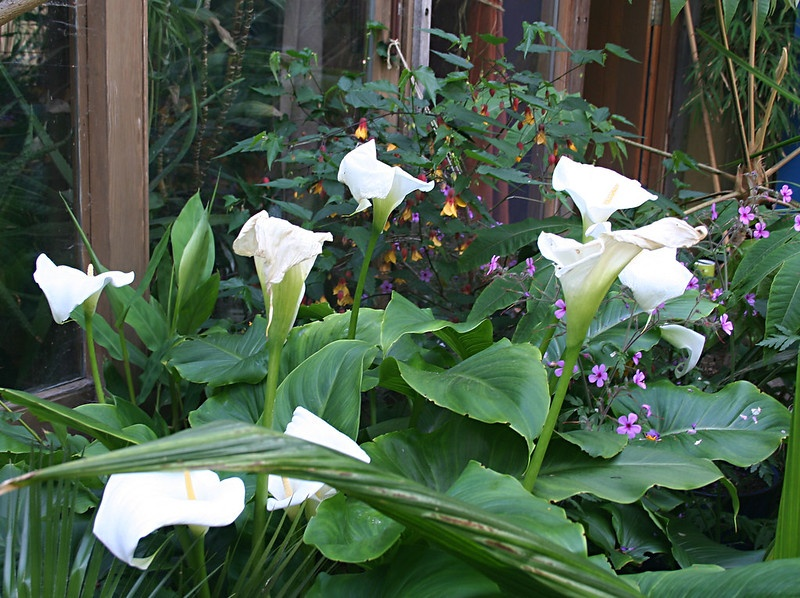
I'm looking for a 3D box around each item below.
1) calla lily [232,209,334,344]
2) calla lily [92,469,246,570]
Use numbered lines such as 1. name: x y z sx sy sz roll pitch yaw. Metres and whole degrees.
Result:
1. calla lily: -0.170 -0.029 1.069 0.141 0.195 0.072 1 12 -15
2. calla lily: -0.288 0.262 0.914 0.176 0.074 0.176 -2 19 -27
